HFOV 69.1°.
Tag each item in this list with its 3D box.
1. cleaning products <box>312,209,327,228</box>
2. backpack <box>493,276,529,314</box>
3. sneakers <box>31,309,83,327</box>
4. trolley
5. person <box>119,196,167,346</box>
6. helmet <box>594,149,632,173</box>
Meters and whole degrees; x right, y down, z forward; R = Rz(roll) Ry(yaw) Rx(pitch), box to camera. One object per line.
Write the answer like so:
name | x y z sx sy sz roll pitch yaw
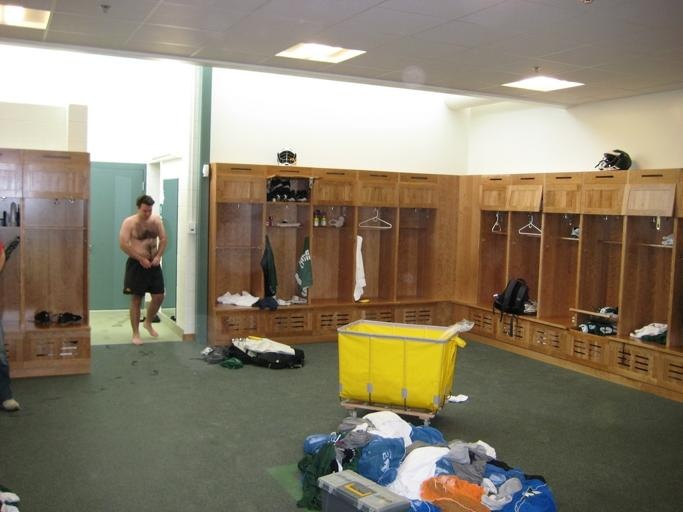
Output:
cleaning products | -0.363 -0.658 8.699 0.240 0.291 0.343 2 6 0
backpack | 2.877 0.679 8.341 0.552 0.528 0.363 19 2 23
sneakers | -3.853 0.851 6.699 0.656 0.188 0.222 0 4 -25
trolley | 0.641 1.225 5.494 1.467 0.943 0.753 1 2 24
person | -3.195 0.213 7.982 0.650 2.343 0.611 0 7 -21
helmet | 4.032 -1.334 7.343 0.444 0.338 0.496 -10 -15 39
